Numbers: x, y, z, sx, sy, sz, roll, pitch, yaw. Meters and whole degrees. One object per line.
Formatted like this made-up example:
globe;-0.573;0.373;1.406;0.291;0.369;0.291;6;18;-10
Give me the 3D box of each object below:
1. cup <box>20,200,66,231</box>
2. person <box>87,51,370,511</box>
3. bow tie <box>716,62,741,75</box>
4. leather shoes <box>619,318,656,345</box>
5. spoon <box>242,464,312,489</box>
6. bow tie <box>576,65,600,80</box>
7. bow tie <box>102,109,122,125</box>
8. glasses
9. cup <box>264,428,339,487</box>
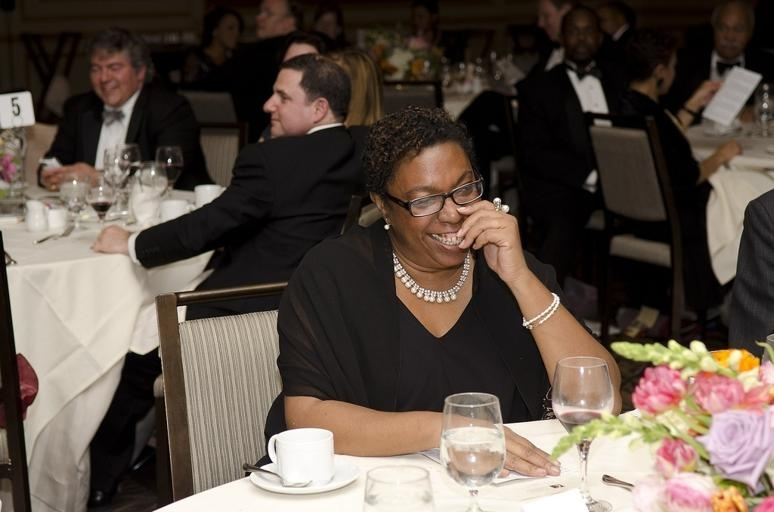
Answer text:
cup;-1.567;-0.190;3.048;0.119;0.143;0.191;-1;-3;32
person;-0.783;-0.097;3.192;1.165;1.817;0.796;2;26;-24
bow tie;2.621;-1.463;5.079;0.179;0.125;0.127;4;13;30
leather shoes;1.547;0.467;4.107;0.158;0.200;0.138;17;-12;-39
spoon;-0.224;0.461;1.368;0.139;0.022;0.030;11;15;31
bow tie;1.337;-1.228;4.355;0.093;0.037;0.094;7;-7;-29
bow tie;-1.743;-0.892;4.196;0.090;0.101;0.031;1;9;14
glasses;0.127;-0.165;1.799;0.274;0.099;0.150;-1;11;5
cup;-0.174;0.410;1.367;0.117;0.085;0.091;-1;1;41
